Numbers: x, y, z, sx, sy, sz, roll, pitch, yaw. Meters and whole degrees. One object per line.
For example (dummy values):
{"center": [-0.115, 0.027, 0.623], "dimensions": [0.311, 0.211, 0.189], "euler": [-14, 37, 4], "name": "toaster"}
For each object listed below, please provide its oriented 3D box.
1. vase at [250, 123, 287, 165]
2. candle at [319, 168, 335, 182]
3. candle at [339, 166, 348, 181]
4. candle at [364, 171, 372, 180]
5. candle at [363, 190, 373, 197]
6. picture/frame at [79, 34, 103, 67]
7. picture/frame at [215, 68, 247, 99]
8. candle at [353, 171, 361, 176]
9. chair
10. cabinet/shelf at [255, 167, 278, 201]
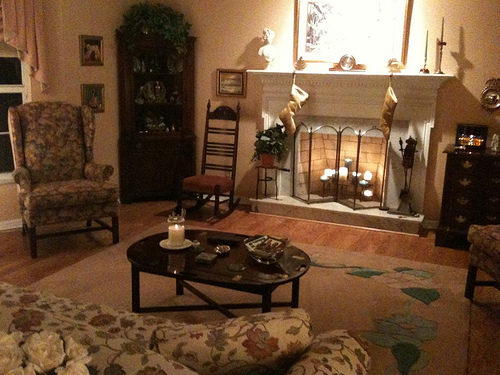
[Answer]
{"center": [0.374, -0.558, 5.204], "dimensions": [0.548, 0.613, 0.598], "euler": [1, 8, 23], "name": "vase"}
{"center": [1.065, -0.169, 5.281], "dimensions": [0.188, 0.155, 0.160], "euler": [2, 15, 4], "name": "candle"}
{"center": [1.245, -0.181, 5.145], "dimensions": [0.143, 0.183, 0.149], "euler": [4, 12, 15], "name": "candle"}
{"center": [1.571, -0.153, 5.139], "dimensions": [0.104, 0.118, 0.108], "euler": [5, 15, 14], "name": "candle"}
{"center": [1.539, 0.079, 5.053], "dimensions": [0.109, 0.077, 0.081], "euler": [5, 15, 14], "name": "candle"}
{"center": [-2.069, -1.770, 5.008], "dimensions": [0.034, 0.431, 0.434], "euler": [5, 11, 34], "name": "picture/frame"}
{"center": [-0.243, -1.466, 5.435], "dimensions": [0.438, 0.384, 0.031], "euler": [4, 12, 14], "name": "picture/frame"}
{"center": [1.408, -0.185, 5.097], "dimensions": [0.087, 0.022, 0.083], "euler": [2, 21, 3], "name": "candle"}
{"center": [-0.545, -0.411, 5.253], "dimensions": [0.827, 1.450, 1.173], "euler": [1, 15, -1], "name": "chair"}
{"center": [0.241, -0.076, 5.323], "dimensions": [0.330, 0.502, 0.411], "euler": [2, 15, 2], "name": "cabinet/shelf"}
